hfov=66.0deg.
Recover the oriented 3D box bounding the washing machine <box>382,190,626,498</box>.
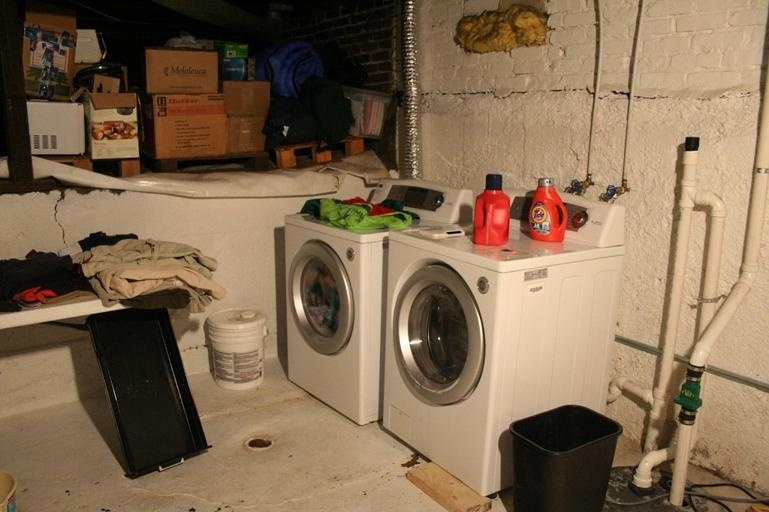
[{"bbox_3d":[0.641,0.426,3.444,1.092,1.389,0.968,-3,13,-29],"label":"washing machine"}]

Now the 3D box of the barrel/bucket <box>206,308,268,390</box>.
[{"bbox_3d":[-0.957,0.607,4.110,0.491,0.497,0.512,1,17,0],"label":"barrel/bucket"}]
